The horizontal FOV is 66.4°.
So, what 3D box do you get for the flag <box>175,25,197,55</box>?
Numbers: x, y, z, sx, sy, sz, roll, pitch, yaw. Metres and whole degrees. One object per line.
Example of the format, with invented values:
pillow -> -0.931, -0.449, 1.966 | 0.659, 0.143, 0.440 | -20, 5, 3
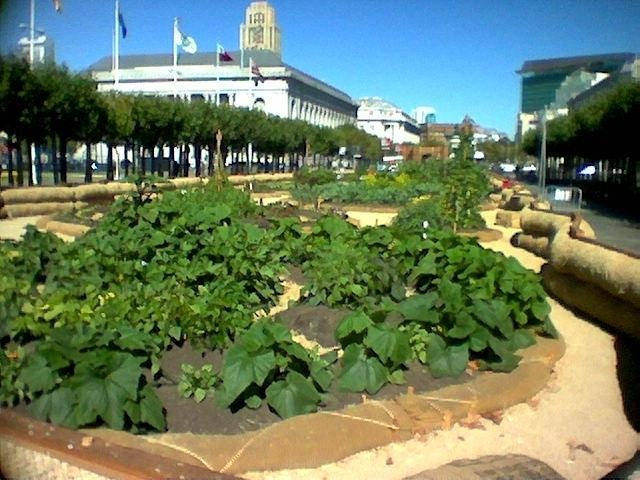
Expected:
flag -> -11.268, -16.634, 40.854 | 1.503, 1.822, 3.595 | -1, 12, -12
